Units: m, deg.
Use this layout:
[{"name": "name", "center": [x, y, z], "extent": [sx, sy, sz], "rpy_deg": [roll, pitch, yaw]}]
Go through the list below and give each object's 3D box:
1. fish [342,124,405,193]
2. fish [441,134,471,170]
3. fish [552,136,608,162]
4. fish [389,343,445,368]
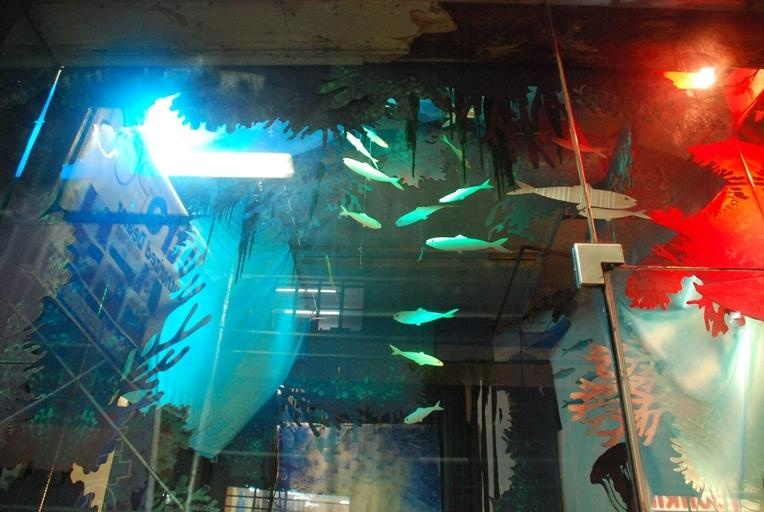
[{"name": "fish", "center": [-0.054, -0.449, 2.832], "extent": [0.157, 0.345, 0.091], "rpy_deg": [-14, -36, -26]}, {"name": "fish", "center": [0.333, -0.484, 2.890], "extent": [0.135, 0.186, 0.013], "rpy_deg": [5, -33, -5]}, {"name": "fish", "center": [0.899, -0.483, 2.838], "extent": [0.243, 0.094, 0.042], "rpy_deg": [14, -23, 18]}, {"name": "fish", "center": [0.138, 0.405, 2.560], "extent": [0.221, 0.081, 0.023], "rpy_deg": [4, -33, -4]}]
